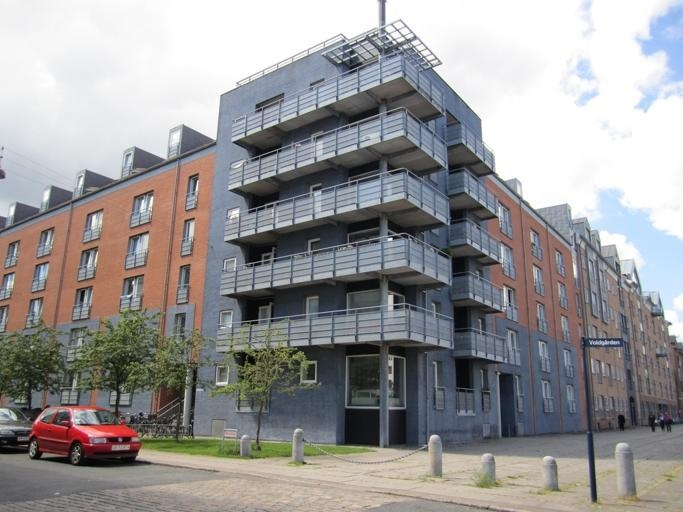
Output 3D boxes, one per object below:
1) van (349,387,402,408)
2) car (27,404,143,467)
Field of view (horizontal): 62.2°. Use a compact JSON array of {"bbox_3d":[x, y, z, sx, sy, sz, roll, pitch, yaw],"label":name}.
[{"bbox_3d":[1.755,7.038,27.819,2.636,0.915,1.080,2,-22,-4],"label":"van"},{"bbox_3d":[-9.229,6.371,20.123,3.564,1.953,1.570,-11,-25,28],"label":"car"}]
